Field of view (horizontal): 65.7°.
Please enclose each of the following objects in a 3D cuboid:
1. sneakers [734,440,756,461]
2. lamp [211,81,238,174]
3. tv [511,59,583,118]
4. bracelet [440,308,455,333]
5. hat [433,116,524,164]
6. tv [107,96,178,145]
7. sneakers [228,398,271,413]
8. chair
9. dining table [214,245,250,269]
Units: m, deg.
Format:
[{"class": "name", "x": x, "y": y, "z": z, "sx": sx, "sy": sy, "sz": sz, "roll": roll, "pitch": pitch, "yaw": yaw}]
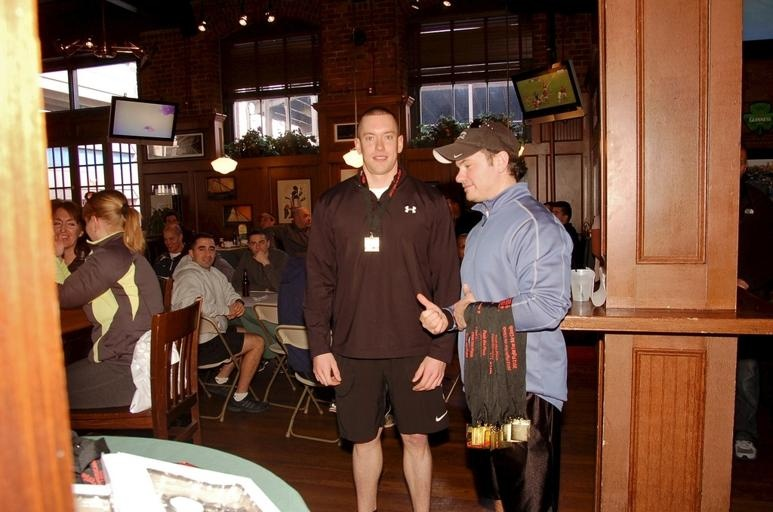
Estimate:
[{"class": "sneakers", "x": 2.357, "y": 1.277, "z": 3.932, "sx": 0.089, "sy": 0.070, "sz": 0.149, "roll": -2, "pitch": -4, "yaw": 17}, {"class": "lamp", "x": -2.544, "y": -1.806, "z": 9.343, "sx": 0.404, "sy": 1.113, "sz": 1.594, "roll": -3, "pitch": 3, "yaw": -16}, {"class": "tv", "x": 1.633, "y": -1.671, "z": 6.079, "sx": 0.233, "sy": 0.483, "sz": 0.878, "roll": -3, "pitch": 3, "yaw": -26}, {"class": "bracelet", "x": 0.287, "y": 0.301, "z": 2.802, "sx": 0.051, "sy": 0.097, "sz": 0.074, "roll": -9, "pitch": 13, "yaw": 7}, {"class": "hat", "x": 0.438, "y": -0.532, "z": 2.869, "sx": 0.436, "sy": 0.221, "sz": 0.273, "roll": 3, "pitch": 0, "yaw": -6}, {"class": "tv", "x": -3.177, "y": -1.752, "z": 7.809, "sx": 1.063, "sy": 0.738, "sz": 0.107, "roll": 0, "pitch": 11, "yaw": -45}, {"class": "sneakers", "x": -1.128, "y": 1.207, "z": 4.863, "sx": 0.279, "sy": 0.132, "sz": 0.123, "roll": 1, "pitch": 1, "yaw": -4}, {"class": "chair", "x": -1.189, "y": 0.690, "z": 3.845, "sx": 0.829, "sy": 1.259, "sz": 0.729, "roll": 3, "pitch": 1, "yaw": 8}, {"class": "dining table", "x": -2.132, "y": -0.020, "z": 8.200, "sx": 0.482, "sy": 0.236, "sz": 0.482, "roll": 1, "pitch": 10, "yaw": 4}]
